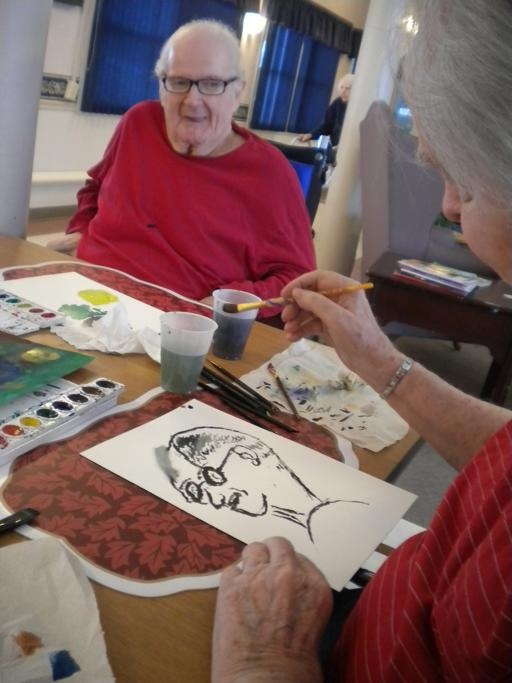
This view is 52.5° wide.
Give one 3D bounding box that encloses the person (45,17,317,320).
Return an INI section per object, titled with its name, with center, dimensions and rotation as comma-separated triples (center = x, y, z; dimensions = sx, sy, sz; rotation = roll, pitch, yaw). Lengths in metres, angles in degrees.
[person]
center = -0.247, -0.592, 1.706
dimensions = 0.929, 0.820, 0.551
rotation = 22, 29, 18

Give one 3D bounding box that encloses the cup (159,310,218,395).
[cup]
center = -0.107, 0.021, 0.808
dimensions = 0.098, 0.102, 0.096
rotation = 11, 23, -5

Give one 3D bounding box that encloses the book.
[book]
center = 0.868, -0.309, 2.460
dimensions = 0.294, 0.067, 0.290
rotation = 18, 24, 14

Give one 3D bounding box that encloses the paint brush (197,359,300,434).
[paint brush]
center = -0.033, 0.077, 0.849
dimensions = 0.063, 0.038, 0.241
rotation = -2, 26, -44

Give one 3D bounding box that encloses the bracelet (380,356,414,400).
[bracelet]
center = 0.198, 0.057, 0.780
dimensions = 0.014, 0.052, 0.055
rotation = 41, 40, 9
